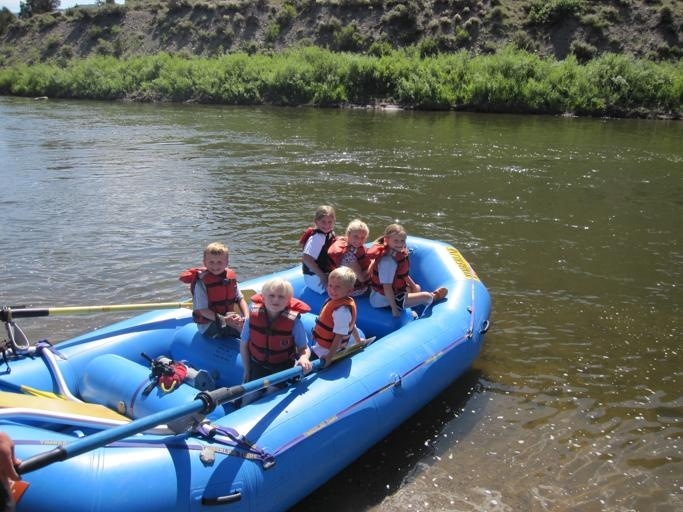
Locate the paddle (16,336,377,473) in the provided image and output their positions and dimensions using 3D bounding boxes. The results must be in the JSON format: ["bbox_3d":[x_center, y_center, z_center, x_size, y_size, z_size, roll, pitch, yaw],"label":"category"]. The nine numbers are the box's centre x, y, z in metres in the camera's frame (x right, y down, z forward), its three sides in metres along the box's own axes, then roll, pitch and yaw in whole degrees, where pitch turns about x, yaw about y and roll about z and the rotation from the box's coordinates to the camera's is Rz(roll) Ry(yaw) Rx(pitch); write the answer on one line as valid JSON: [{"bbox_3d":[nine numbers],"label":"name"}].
[{"bbox_3d":[-1.246,1.331,6.635,2.962,0.456,0.413,-9,15,-32],"label":"paddle"}]

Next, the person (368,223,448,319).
[{"bbox_3d":[0.702,0.129,8.308,0.912,0.889,0.617,-3,16,1],"label":"person"}]

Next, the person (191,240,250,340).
[{"bbox_3d":[-1.191,0.363,7.680,0.685,0.963,0.682,5,15,10],"label":"person"}]
